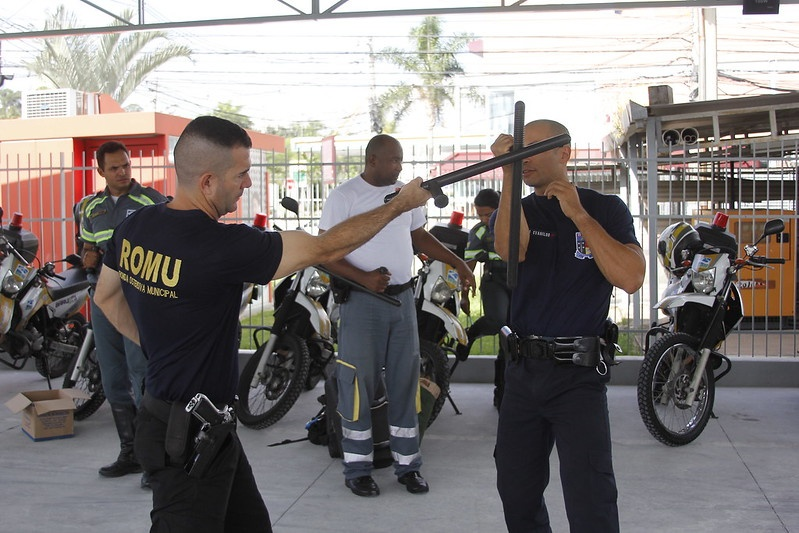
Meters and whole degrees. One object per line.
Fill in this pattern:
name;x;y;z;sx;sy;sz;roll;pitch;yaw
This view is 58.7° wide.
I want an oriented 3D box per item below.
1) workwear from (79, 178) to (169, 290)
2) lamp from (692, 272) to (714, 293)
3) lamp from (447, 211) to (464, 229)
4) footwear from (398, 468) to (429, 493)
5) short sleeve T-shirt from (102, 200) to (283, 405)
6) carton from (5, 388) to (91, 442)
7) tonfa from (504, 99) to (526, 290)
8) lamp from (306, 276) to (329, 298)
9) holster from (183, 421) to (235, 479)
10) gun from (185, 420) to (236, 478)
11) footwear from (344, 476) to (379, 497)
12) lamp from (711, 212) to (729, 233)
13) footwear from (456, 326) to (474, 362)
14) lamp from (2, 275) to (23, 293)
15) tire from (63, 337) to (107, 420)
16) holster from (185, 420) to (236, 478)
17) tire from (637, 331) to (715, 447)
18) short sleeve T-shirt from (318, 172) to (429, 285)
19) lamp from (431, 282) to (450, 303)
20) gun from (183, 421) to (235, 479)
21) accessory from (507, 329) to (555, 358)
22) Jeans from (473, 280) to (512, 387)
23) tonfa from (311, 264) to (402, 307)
workwear;-2.625;-0.300;6.351;0.417;0.625;1.089;11;13;-26
lamp;3.059;0.145;7.098;0.152;0.210;0.193;6;2;-13
lamp;0.684;-0.551;8.320;0.190;0.217;0.188;-1;7;-31
footwear;0.122;1.811;6.015;0.112;0.132;0.278;0;-1;-35
short sleeve T-shirt;-1.225;0.186;4.007;1.065;1.001;0.518;7;9;14
carton;-3.484;1.480;7.061;0.587;0.295;0.540;0;16;-33
tonfa;0.653;-0.418;4.090;0.085;1.041;0.108;3;0;-8
lamp;-0.849;0.194;7.282;0.208;0.282;0.085;5;7;24
holster;-1.049;0.973;3.857;0.099;0.281;0.216;6;-35;52
gun;-1.059;0.967;3.951;0.208;0.147;0.362;3;-16;1
footwear;-0.316;1.819;5.940;0.284;0.127;0.120;1;0;42
lamp;3.394;-0.465;7.451;0.172;0.196;0.177;10;3;29
footwear;0.734;0.892;7.795;0.144;0.438;0.171;18;-6;-9
lamp;-4.330;0.211;7.910;0.156;0.194;0.074;-10;16;-23
tire;-3.256;1.188;7.362;0.270;0.949;0.933;3;6;-27
holster;-1.014;0.965;3.832;0.291;0.193;0.114;-42;21;-23
tire;2.777;1.216;7.021;1.084;1.111;0.235;0;-4;-30
short sleeve T-shirt;-0.192;-0.266;5.468;1.014;0.995;0.512;-3;19;-42
lamp;0.436;0.263;7.356;0.167;0.224;0.218;7;19;-19
gun;-1.017;0.975;3.806;0.099;0.281;0.216;6;-35;52
accessory;0.801;0.461;4.314;0.194;0.092;0.152;4;-2;30
Jeans;1.006;0.477;7.525;0.498;0.669;1.043;2;16;7
tonfa;-0.343;0.150;6.060;1.029;0.073;0.106;20;5;17
